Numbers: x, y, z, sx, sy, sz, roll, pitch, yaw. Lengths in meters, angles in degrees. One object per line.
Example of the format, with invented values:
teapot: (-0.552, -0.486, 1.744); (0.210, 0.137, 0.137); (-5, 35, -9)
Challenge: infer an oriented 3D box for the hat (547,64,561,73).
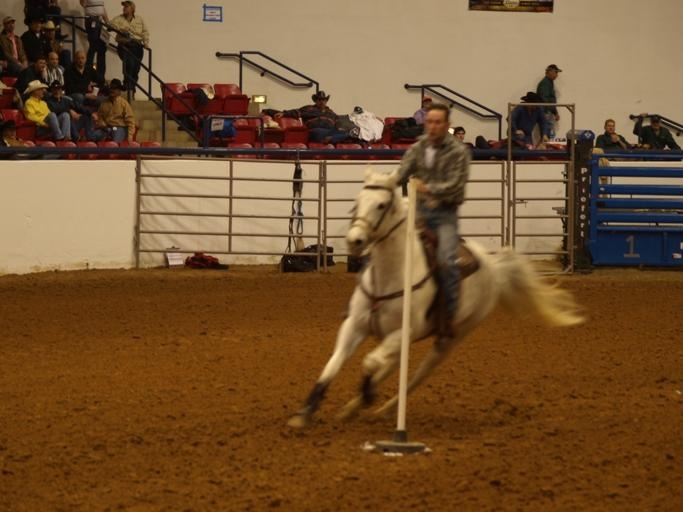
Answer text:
hat: (5.272, -4.658, 27.100); (0.391, 0.155, 0.261); (6, 3, -39)

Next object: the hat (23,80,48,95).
hat: (-6.344, -3.517, 22.444); (0.362, 0.141, 0.336); (-24, 2, 38)

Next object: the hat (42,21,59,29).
hat: (-6.709, -5.298, 25.018); (0.340, 0.104, 0.318); (4, -2, -33)

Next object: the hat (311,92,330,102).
hat: (-0.549, -3.849, 26.244); (0.381, 0.167, 0.428); (2, -12, -4)

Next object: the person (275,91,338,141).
person: (-0.874, -3.270, 25.513); (1.557, 0.610, 1.495); (6, 38, -8)

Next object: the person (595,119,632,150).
person: (6.113, -2.673, 24.895); (0.653, 0.877, 0.499); (-1, -7, -8)

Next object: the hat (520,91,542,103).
hat: (4.647, -3.927, 26.870); (0.479, 0.214, 0.561); (2, -3, 5)

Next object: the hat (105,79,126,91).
hat: (-4.815, -3.633, 23.072); (0.308, 0.219, 0.450); (3, 7, -8)
